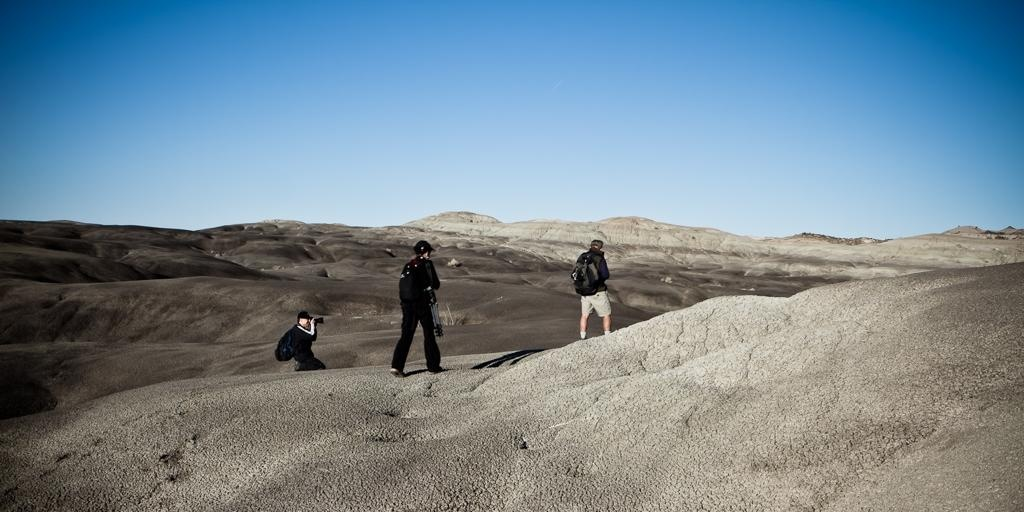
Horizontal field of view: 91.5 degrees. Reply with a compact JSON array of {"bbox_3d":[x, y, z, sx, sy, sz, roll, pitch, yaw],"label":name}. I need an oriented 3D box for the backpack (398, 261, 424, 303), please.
[{"bbox_3d":[-2.016,0.489,9.923,0.338,0.817,0.413,4,-5,-44],"label":"backpack"}]

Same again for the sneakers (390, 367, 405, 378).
[{"bbox_3d":[-2.186,2.210,9.598,0.247,0.154,0.309,1,-3,-11],"label":"sneakers"}]

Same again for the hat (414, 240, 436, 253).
[{"bbox_3d":[-1.767,-0.185,10.107,0.341,0.196,0.403,3,12,20],"label":"hat"}]
